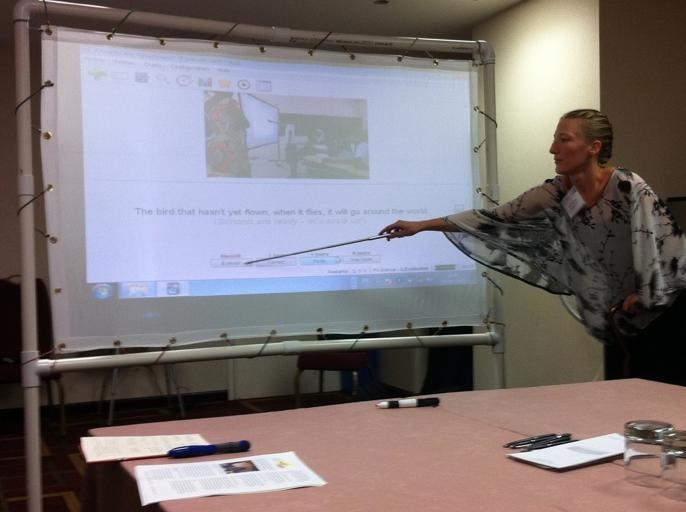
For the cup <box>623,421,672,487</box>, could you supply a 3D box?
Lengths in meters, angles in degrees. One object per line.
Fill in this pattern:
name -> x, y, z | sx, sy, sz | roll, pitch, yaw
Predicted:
cup -> 0.768, 0.518, 1.654 | 0.118, 0.133, 0.118 | 5, -11, 1
